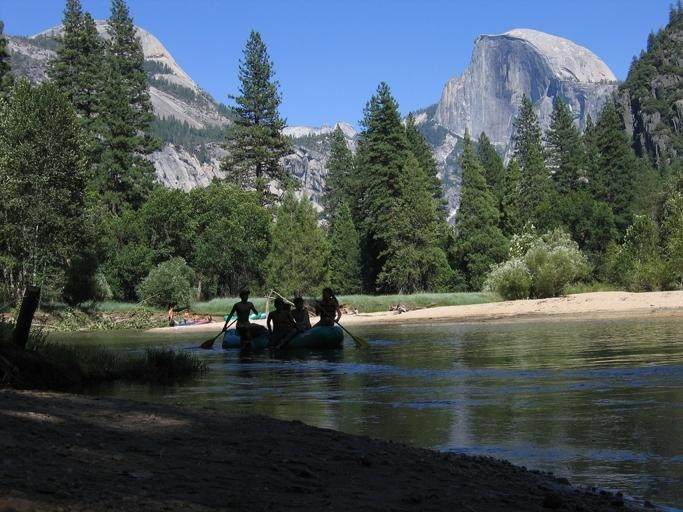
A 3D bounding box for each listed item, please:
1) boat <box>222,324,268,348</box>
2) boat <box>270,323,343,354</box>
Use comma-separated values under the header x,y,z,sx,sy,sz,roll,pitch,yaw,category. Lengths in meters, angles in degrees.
x,y,z,sx,sy,sz,roll,pitch,yaw,category
-3.177,2.788,29.571,1.193,0.544,0.956,-1,-4,5,boat
-0.853,2.771,28.799,1.617,0.564,0.919,-14,-9,-33,boat
